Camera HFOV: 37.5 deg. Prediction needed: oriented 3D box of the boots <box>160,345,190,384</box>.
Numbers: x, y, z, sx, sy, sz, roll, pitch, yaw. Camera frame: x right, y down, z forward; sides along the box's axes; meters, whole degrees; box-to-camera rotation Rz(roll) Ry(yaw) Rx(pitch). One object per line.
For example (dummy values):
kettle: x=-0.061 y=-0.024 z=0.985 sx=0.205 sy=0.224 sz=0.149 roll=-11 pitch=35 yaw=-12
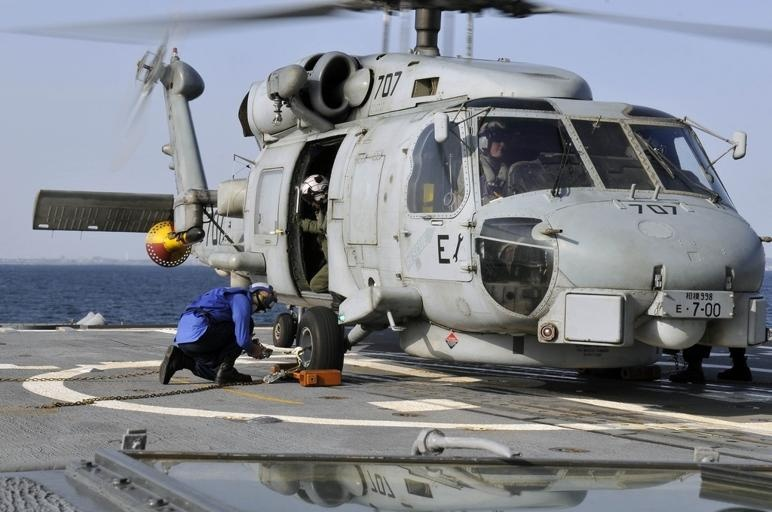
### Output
boots: x=-2.957 y=1.450 z=15.611 sx=0.256 sy=0.607 sz=0.300 roll=28 pitch=2 yaw=39

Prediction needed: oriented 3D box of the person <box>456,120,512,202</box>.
person: x=1.374 y=-1.217 z=14.471 sx=0.390 sy=1.072 sz=0.353 roll=-1 pitch=-3 yaw=3

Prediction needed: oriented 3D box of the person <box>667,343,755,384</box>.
person: x=4.864 y=1.657 z=17.189 sx=1.352 sy=0.686 sz=0.939 roll=-1 pitch=4 yaw=-40

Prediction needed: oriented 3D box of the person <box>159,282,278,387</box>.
person: x=-2.317 y=1.083 z=15.787 sx=1.880 sy=1.083 sz=1.170 roll=-1 pitch=-11 yaw=-21

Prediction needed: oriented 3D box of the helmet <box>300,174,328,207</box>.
helmet: x=-1.105 y=-1.025 z=17.630 sx=0.602 sy=0.460 sz=0.450 roll=4 pitch=7 yaw=22
